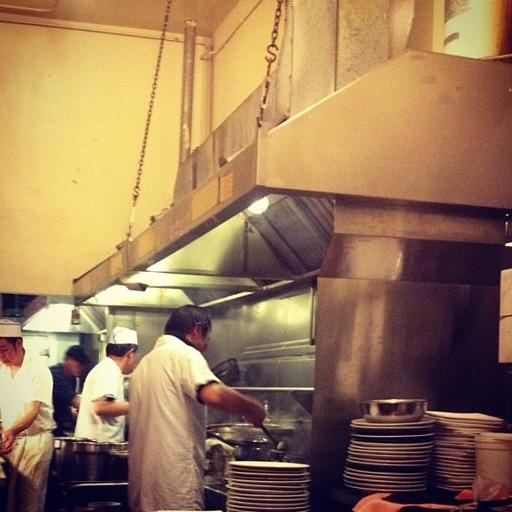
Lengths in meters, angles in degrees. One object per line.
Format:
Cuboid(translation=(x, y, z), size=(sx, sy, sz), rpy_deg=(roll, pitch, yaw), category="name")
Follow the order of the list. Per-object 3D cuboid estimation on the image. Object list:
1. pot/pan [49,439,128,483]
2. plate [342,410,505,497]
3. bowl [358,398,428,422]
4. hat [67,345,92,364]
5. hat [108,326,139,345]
Cuboid(translation=(-0.945, 1.170, 3.701), size=(0.344, 0.227, 0.358), rpy_deg=(-4, -11, 30), category="pot/pan")
Cuboid(translation=(0.480, 0.554, 1.940), size=(0.319, 0.135, 0.274), rpy_deg=(1, -5, -9), category="plate")
Cuboid(translation=(0.409, 0.461, 1.919), size=(0.175, 0.068, 0.117), rpy_deg=(0, -11, -20), category="bowl")
Cuboid(translation=(-1.201, 0.673, 4.449), size=(0.154, 0.078, 0.094), rpy_deg=(29, -20, -27), category="hat")
Cuboid(translation=(-0.786, 0.479, 3.875), size=(0.097, 0.086, 0.143), rpy_deg=(0, -4, 26), category="hat")
